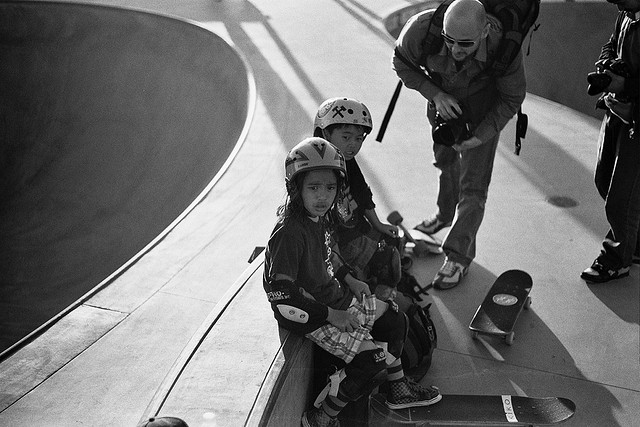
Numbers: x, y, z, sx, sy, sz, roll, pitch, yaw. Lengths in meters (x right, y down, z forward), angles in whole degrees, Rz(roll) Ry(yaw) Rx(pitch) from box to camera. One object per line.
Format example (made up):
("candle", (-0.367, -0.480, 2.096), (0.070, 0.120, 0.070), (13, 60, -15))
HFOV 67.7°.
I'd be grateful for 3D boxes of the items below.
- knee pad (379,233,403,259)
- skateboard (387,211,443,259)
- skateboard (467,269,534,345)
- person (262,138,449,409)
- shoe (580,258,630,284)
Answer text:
("knee pad", (0.582, 0.256, 3.916), (0.111, 0.217, 0.144), (3, 7, -22))
("skateboard", (0.895, 0.232, 4.433), (0.527, 0.327, 0.115), (38, -22, 40))
("skateboard", (1.444, 0.748, 3.787), (0.337, 0.916, 0.224), (7, -66, 34))
("person", (0.216, 0.439, 3.223), (1.103, 1.896, 0.950), (-2, 10, 16))
("shoe", (2.416, 0.483, 4.110), (0.406, 0.211, 0.180), (0, 15, -1))
